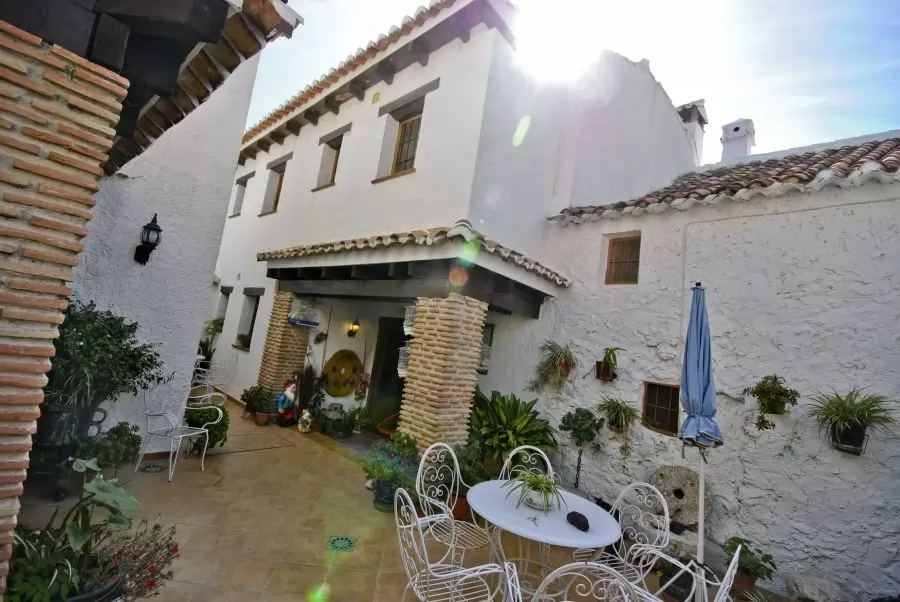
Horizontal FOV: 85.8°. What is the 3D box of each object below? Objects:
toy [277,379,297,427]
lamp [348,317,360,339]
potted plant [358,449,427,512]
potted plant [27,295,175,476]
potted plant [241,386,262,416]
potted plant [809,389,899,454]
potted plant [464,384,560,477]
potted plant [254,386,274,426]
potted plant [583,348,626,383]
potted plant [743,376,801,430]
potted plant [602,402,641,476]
[{"bbox_3d":[-3.755,2.370,11.189,0.409,1.058,0.512,0,11,-20],"label":"toy"},{"bbox_3d":[-2.389,0.677,11.987,0.321,0.470,0.207,2,11,-12],"label":"lamp"},{"bbox_3d":[-0.910,2.978,8.058,0.980,0.998,0.954,14,-25,-2],"label":"potted plant"},{"bbox_3d":[-5.606,1.099,7.327,1.664,2.207,2.097,-1,-12,-10],"label":"potted plant"},{"bbox_3d":[-4.750,2.402,11.589,0.522,0.697,0.605,-3,7,-37],"label":"potted plant"},{"bbox_3d":[5.595,1.600,6.704,0.868,0.632,0.847,8,-8,-43],"label":"potted plant"},{"bbox_3d":[1.106,2.427,8.923,1.641,1.215,1.628,10,-16,-30],"label":"potted plant"},{"bbox_3d":[-4.440,2.459,11.459,0.495,0.790,0.573,8,-8,-26],"label":"potted plant"},{"bbox_3d":[2.730,1.126,8.611,0.523,0.860,0.585,6,-4,6],"label":"potted plant"},{"bbox_3d":[4.751,1.541,7.356,0.729,0.766,0.711,-3,-27,22],"label":"potted plant"},{"bbox_3d":[2.993,2.199,8.414,0.568,1.034,0.660,-6,2,0],"label":"potted plant"}]
